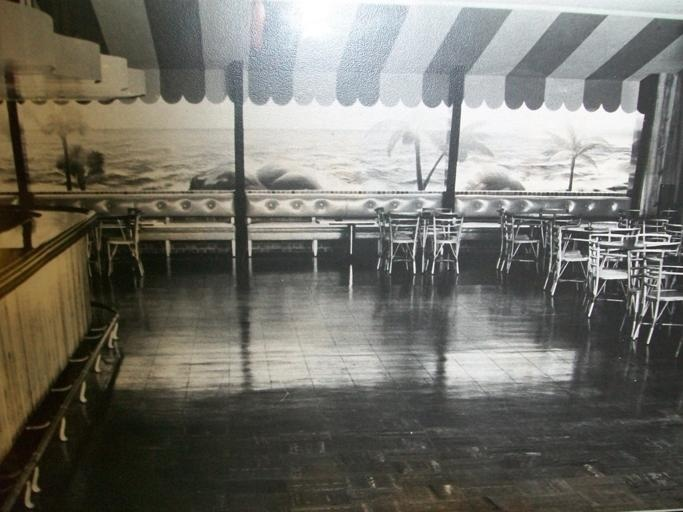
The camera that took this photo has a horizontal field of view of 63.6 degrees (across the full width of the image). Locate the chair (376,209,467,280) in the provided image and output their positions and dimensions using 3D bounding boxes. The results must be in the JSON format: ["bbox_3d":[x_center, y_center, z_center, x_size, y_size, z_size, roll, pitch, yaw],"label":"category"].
[{"bbox_3d":[1.198,-0.204,8.821,1.053,0.834,1.373,0,3,-2],"label":"chair"}]
